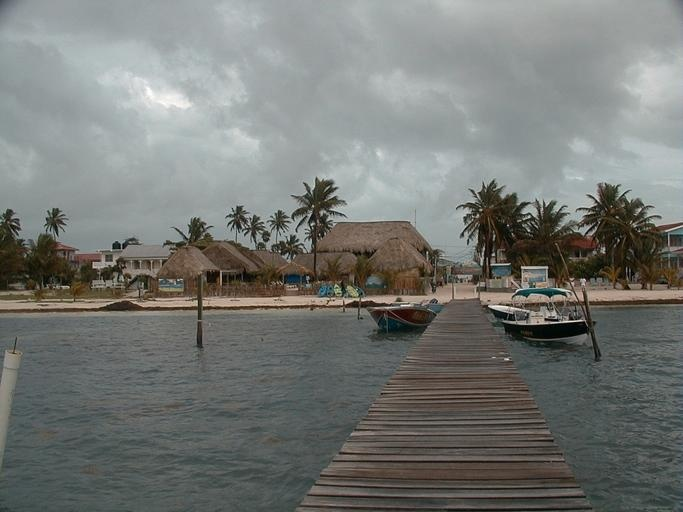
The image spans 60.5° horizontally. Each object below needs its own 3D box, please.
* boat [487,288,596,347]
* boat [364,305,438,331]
[{"bbox_3d":[8.645,2.794,26.517,2.409,2.465,8.122,-2,-4,-3],"label":"boat"},{"bbox_3d":[3.070,2.903,27.598,1.342,0.827,3.055,4,-2,41],"label":"boat"}]
